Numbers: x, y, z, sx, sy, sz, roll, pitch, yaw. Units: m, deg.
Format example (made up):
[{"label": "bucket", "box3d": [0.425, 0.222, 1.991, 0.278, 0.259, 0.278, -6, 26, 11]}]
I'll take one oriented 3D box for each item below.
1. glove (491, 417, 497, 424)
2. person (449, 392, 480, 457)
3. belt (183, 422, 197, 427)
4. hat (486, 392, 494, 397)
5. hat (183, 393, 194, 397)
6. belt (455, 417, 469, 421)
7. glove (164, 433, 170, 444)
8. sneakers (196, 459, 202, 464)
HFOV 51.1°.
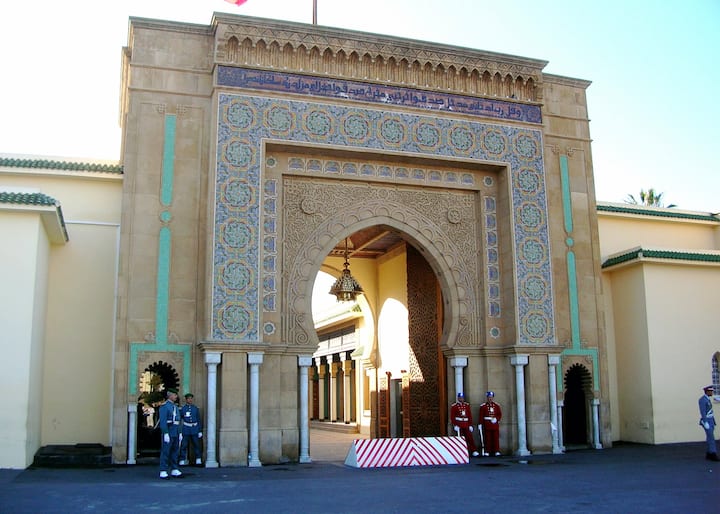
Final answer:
[{"label": "glove", "box3d": [3.397, 4.188, 19.258, 0.161, 0.152, 0.038, 9, -4, 16]}, {"label": "person", "box3d": [2.677, 4.324, 19.428, 0.686, 1.600, 0.463, 6, -16, -31]}, {"label": "belt", "box3d": [-3.899, 3.888, 17.393, 0.087, 0.098, 0.315, -11, -16, 33]}, {"label": "hat", "box3d": [3.365, 3.558, 19.548, 0.131, 0.098, 0.132, -3, -9, 18]}, {"label": "hat", "box3d": [-3.958, 3.232, 17.561, 0.180, 0.074, 0.206, 4, -17, -18]}, {"label": "belt", "box3d": [2.581, 4.149, 19.241, 0.326, 0.099, 0.059, -1, -14, -4]}, {"label": "glove", "box3d": [-4.038, 3.816, 15.879, 0.131, 0.175, 0.061, -4, -14, 6]}, {"label": "sneakers", "box3d": [-3.734, 4.788, 17.597, 0.107, 0.106, 0.198, 1, -3, -3]}]
